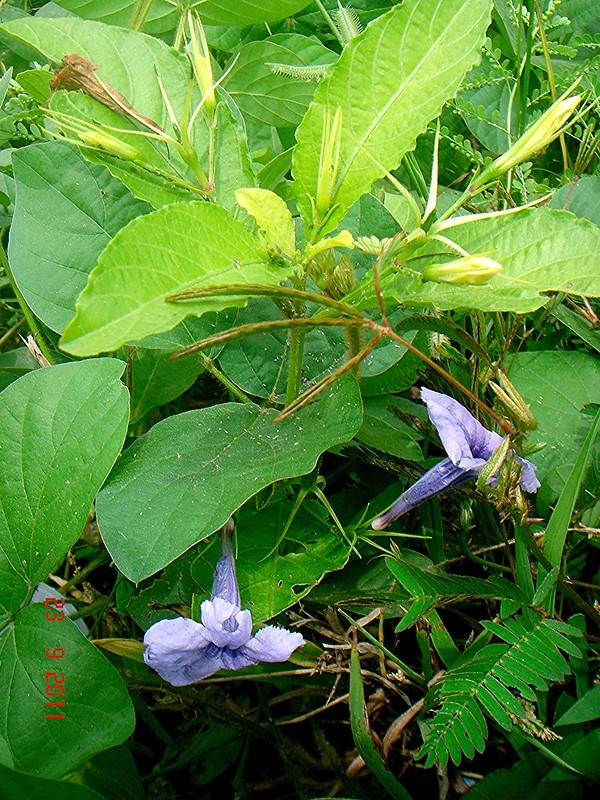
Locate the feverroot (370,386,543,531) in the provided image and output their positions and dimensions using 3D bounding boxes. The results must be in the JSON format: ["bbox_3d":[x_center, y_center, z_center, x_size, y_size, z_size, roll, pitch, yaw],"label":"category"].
[{"bbox_3d":[0.182,0.089,0.885,0.210,0.078,0.162,-15,10,5],"label":"feverroot"}]

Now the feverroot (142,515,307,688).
[{"bbox_3d":[-0.074,0.209,0.796,0.206,0.149,0.158,8,-9,-38],"label":"feverroot"}]
